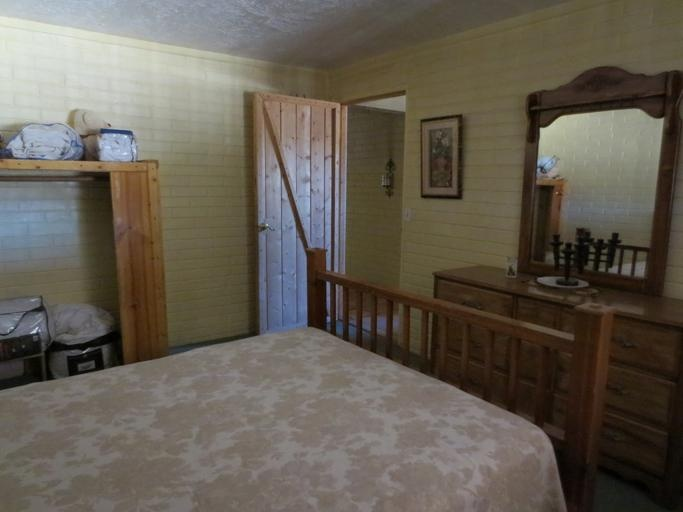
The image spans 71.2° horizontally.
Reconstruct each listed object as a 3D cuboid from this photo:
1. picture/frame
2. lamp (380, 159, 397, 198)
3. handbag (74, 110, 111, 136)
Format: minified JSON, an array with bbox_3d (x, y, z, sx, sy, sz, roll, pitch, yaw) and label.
[{"bbox_3d":[0.874,-0.859,4.178,0.100,0.703,0.480,-6,13,-30],"label":"picture/frame"},{"bbox_3d":[0.646,-1.049,6.383,0.120,0.511,0.252,-10,16,-43],"label":"lamp"},{"bbox_3d":[-2.073,-1.127,4.075,0.234,0.155,0.305,-6,-3,9],"label":"handbag"}]
